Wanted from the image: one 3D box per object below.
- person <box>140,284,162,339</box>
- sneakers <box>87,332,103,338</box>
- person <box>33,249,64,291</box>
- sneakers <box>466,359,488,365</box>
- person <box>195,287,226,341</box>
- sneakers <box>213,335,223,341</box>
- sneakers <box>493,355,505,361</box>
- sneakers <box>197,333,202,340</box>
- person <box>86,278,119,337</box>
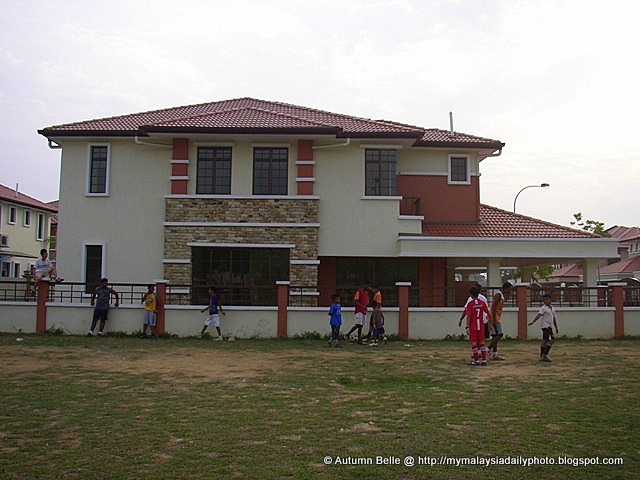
[{"bbox_3d":[-5.922,2.435,22.645,0.560,1.774,0.564,-1,3,-15],"label":"person"},{"bbox_3d":[-7.700,3.231,22.448,0.195,0.225,0.530,-12,-25,29],"label":"sneakers"},{"bbox_3d":[-9.932,1.034,23.644,0.841,1.461,2.103,-1,4,-24],"label":"person"},{"bbox_3d":[4.188,3.316,17.651,0.522,0.215,0.193,-1,0,5],"label":"sneakers"},{"bbox_3d":[-3.768,2.505,22.595,0.882,1.865,1.307,-1,3,-10],"label":"person"},{"bbox_3d":[-3.548,3.424,22.654,0.355,0.211,0.120,1,-3,16],"label":"sneakers"},{"bbox_3d":[5.020,3.335,18.456,0.407,0.190,0.135,-1,2,1],"label":"sneakers"},{"bbox_3d":[-4.189,3.335,22.717,0.201,0.191,0.125,3,1,38],"label":"sneakers"},{"bbox_3d":[-7.564,2.314,22.807,1.031,1.961,0.954,-1,3,-17],"label":"person"}]
